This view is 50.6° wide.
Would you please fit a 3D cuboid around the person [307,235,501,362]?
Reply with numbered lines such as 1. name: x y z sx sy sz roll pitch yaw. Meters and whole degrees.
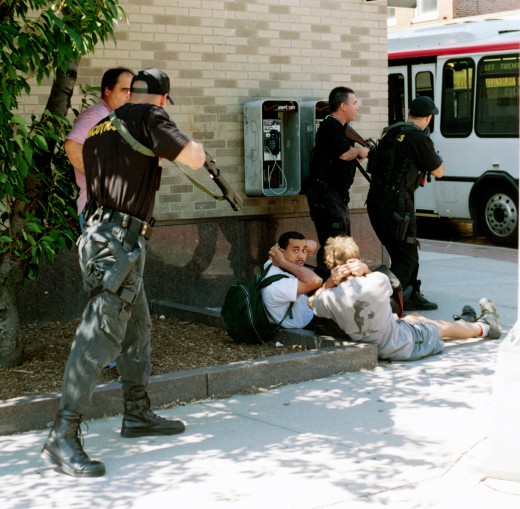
1. person: 1.294 0.365 4.896 1.645 1.053 0.545 -2 5 -31

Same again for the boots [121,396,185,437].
1. boots: -0.643 0.937 3.244 0.455 0.235 0.158 0 0 -11

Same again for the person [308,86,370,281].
1. person: 0.933 -0.898 6.760 0.698 2.017 0.727 1 2 33

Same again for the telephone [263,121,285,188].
1. telephone: 0.121 -1.317 7.123 0.274 0.904 0.440 7 13 36

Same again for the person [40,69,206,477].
1. person: -0.698 0.001 3.012 0.894 2.029 0.821 1 2 37

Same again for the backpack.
1. backpack: -0.045 0.494 5.016 0.592 0.659 0.288 0 4 -4
